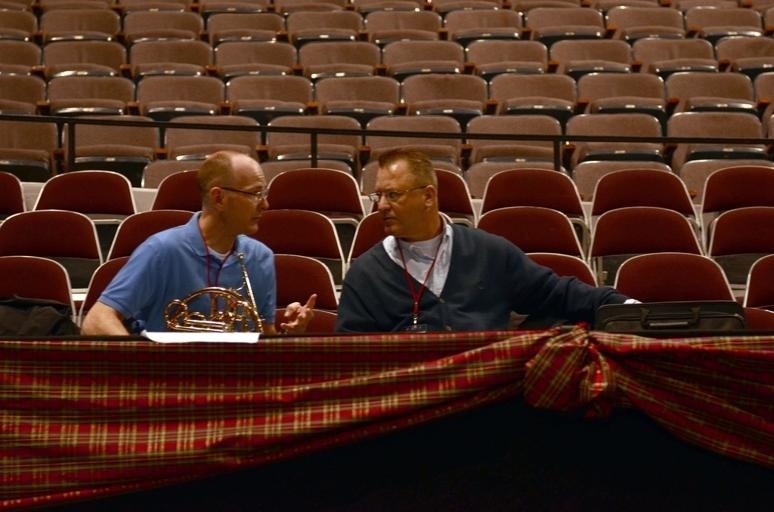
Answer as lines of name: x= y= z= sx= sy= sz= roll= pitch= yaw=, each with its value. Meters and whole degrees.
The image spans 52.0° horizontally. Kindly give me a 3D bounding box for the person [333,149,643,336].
person: x=0.337 y=-0.037 z=2.621 sx=0.758 sy=0.768 sz=0.287 roll=-6 pitch=-24 yaw=-18
